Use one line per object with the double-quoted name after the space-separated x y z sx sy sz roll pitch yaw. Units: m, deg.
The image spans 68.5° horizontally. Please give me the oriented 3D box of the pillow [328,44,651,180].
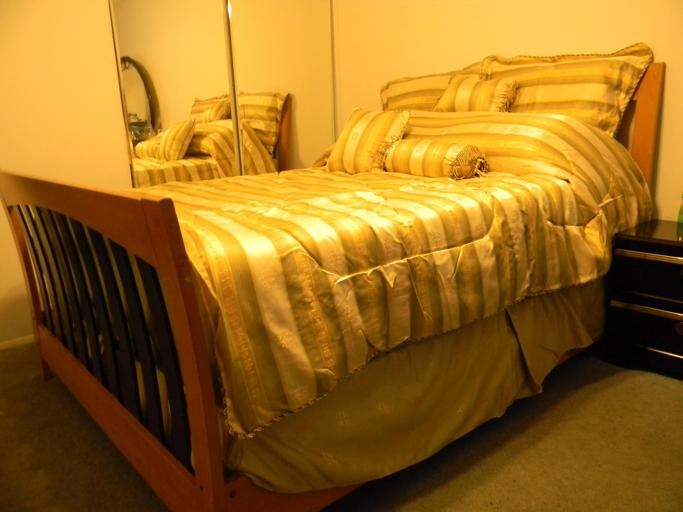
0.925 -0.674 2.679 1.002 0.493 0.898 13 29 42 "pillow"
